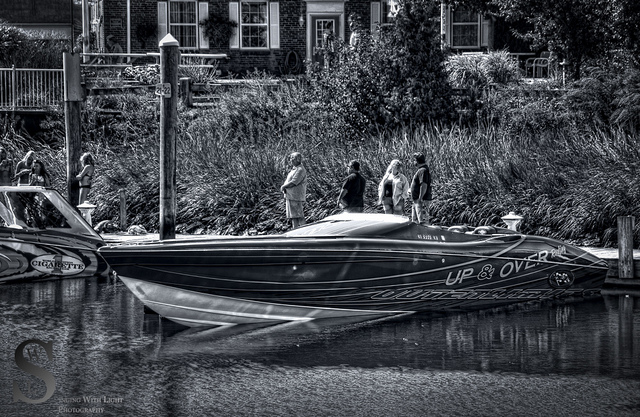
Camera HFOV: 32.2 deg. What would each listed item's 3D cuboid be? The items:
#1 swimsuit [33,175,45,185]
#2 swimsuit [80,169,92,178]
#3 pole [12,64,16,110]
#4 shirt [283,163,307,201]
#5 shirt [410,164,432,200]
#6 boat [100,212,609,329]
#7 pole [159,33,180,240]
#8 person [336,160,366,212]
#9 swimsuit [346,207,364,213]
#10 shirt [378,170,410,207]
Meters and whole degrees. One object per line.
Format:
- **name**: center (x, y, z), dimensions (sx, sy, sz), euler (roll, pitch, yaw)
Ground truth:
- **swimsuit**: center (-6.772, -0.689, 26.832), dimensions (0.258, 0.204, 0.128), euler (-3, 21, -14)
- **swimsuit**: center (-5.682, -0.862, 27.098), dimensions (0.151, 0.150, 0.153), euler (42, 34, 9)
- **pole**: center (-9.781, -3.894, 35.595), dimensions (0.096, 1.459, 0.784), euler (-1, 1, -15)
- **shirt**: center (-0.550, -0.566, 24.935), dimensions (0.596, 0.855, 0.812), euler (4, 16, 0)
- **shirt**: center (2.288, -0.616, 24.614), dimensions (0.594, 0.726, 0.941), euler (2, 6, 7)
- **boat**: center (0.495, 1.099, 19.697), dimensions (9.747, 1.627, 2.570), euler (0, -2, -17)
- **pole**: center (-3.339, -1.600, 24.656), dimensions (0.405, 4.556, 0.351), euler (0, 1, -8)
- **person**: center (0.693, -0.486, 24.640), dimensions (0.591, 1.140, 0.858), euler (0, 1, 2)
- **swimsuit**: center (0.809, 0.029, 24.643), dimensions (0.211, 0.101, 0.470), euler (0, 1, 42)
- **shirt**: center (1.657, -0.475, 24.892), dimensions (0.787, 0.655, 0.475), euler (3, 9, 35)
